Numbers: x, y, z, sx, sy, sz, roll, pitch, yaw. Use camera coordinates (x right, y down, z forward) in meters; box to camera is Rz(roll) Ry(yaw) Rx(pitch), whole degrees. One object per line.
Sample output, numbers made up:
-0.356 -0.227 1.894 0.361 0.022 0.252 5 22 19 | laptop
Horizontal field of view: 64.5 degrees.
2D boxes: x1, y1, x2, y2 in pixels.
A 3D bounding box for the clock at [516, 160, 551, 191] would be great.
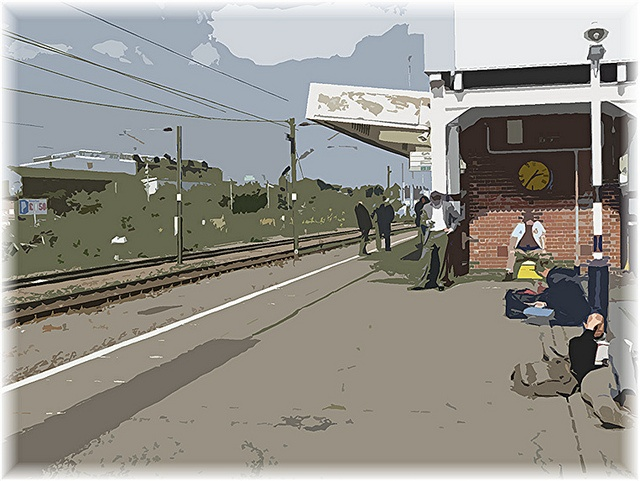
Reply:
6.968 -2.180 16.636 0.853 0.997 0.065 -1 6 13 | clock
